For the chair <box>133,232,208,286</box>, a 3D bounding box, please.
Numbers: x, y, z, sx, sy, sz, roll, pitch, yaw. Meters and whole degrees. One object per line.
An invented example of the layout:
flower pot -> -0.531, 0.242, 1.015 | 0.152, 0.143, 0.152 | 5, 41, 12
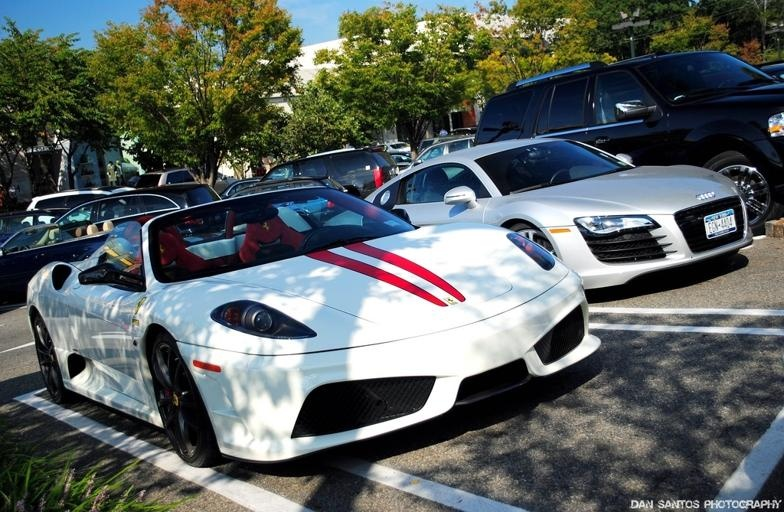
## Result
chair -> -1.851, -0.008, 4.168 | 0.394, 0.218, 0.529 | -10, 41, -24

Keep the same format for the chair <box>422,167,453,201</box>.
chair -> 0.671, -1.045, 7.080 | 0.345, 0.516, 0.164 | 4, 0, 39
